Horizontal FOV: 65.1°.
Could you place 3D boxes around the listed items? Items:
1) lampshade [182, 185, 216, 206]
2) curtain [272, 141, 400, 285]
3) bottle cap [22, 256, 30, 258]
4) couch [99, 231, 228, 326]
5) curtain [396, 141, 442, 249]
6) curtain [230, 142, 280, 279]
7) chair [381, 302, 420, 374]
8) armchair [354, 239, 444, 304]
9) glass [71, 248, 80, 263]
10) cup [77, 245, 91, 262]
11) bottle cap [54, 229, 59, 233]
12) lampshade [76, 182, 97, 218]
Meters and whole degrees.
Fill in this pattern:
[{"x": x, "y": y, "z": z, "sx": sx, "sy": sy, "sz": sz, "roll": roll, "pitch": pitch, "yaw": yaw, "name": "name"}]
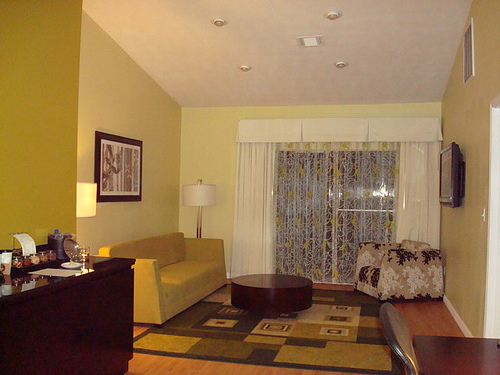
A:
[{"x": -0.866, "y": 0.132, "z": 6.647, "sx": 0.385, "sy": 0.235, "sz": 0.391, "roll": 1, "pitch": 0, "yaw": 0, "name": "lampshade"}, {"x": 1.614, "y": 0.453, "z": 6.942, "sx": 2.465, "sy": 2.878, "sz": 0.158, "roll": 1, "pitch": -1, "yaw": 14, "name": "curtain"}, {"x": -1.915, "y": 0.596, "z": 3.359, "sx": 0.021, "sy": 0.015, "sz": 0.053, "roll": 2, "pitch": 2, "yaw": 41, "name": "bottle cap"}, {"x": -1.174, "y": 1.266, "z": 5.972, "sx": 0.920, "sy": 0.962, "sz": 2.429, "roll": 0, "pitch": -1, "yaw": 16, "name": "couch"}, {"x": 2.888, "y": 0.115, "z": 6.716, "sx": 0.692, "sy": 1.817, "sz": 0.212, "roll": 1, "pitch": 1, "yaw": 21, "name": "curtain"}, {"x": 0.083, "y": 0.428, "z": 7.257, "sx": 0.896, "sy": 2.487, "sz": 0.265, "roll": 2, "pitch": 2, "yaw": -7, "name": "curtain"}, {"x": 0.789, "y": 0.776, "z": 2.068, "sx": 0.190, "sy": 0.249, "sz": 0.525, "roll": 1, "pitch": 1, "yaw": 20, "name": "chair"}, {"x": 2.395, "y": 1.346, "z": 6.306, "sx": 1.385, "sy": 0.922, "sz": 0.816, "roll": 1, "pitch": 1, "yaw": 14, "name": "armchair"}, {"x": -1.643, "y": 0.631, "z": 3.699, "sx": 0.072, "sy": 0.111, "sz": 0.116, "roll": 0, "pitch": 1, "yaw": -25, "name": "glass"}, {"x": -1.584, "y": 0.637, "z": 3.771, "sx": 0.130, "sy": 0.137, "sz": 0.119, "roll": 1, "pitch": 1, "yaw": 0, "name": "cup"}, {"x": -1.941, "y": 0.437, "z": 3.935, "sx": 0.027, "sy": 0.024, "sz": 0.026, "roll": 0, "pitch": -5, "yaw": 0, "name": "bottle cap"}, {"x": -1.890, "y": 0.138, "z": 4.476, "sx": 0.142, "sy": 0.375, "sz": 0.397, "roll": 1, "pitch": 1, "yaw": 6, "name": "lampshade"}]
